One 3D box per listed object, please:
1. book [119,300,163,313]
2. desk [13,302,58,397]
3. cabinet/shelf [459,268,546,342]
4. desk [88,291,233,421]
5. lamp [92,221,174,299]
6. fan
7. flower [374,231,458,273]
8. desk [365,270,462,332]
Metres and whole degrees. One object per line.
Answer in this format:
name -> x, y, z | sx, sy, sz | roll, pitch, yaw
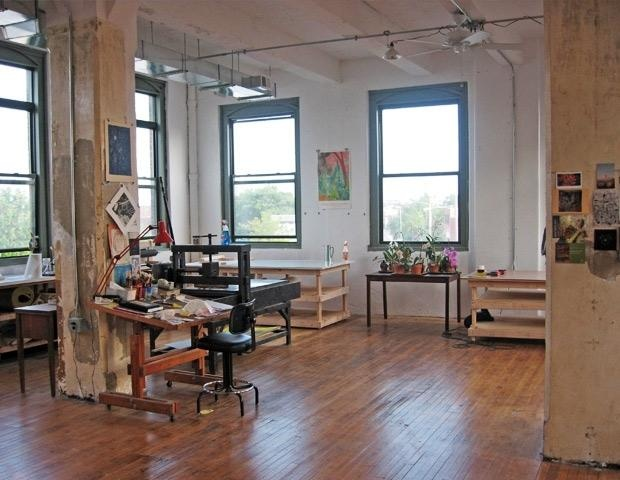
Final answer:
book -> -1.553, 0.595, 4.950 | 0.412, 0.089, 0.231 | 2, 5, 32
desk -> -2.763, 1.085, 5.467 | 0.363, 0.880, 0.574 | -3, 5, -29
cabinet/shelf -> 2.730, 0.886, 7.494 | 0.967, 0.903, 1.272 | 1, 4, 21
desk -> -1.325, 0.994, 5.213 | 1.085, 1.016, 1.148 | 1, 2, 21
lamp -> -1.813, 0.157, 5.415 | 0.688, 0.686, 1.107 | -2, 4, -22
fan -> 1.959, -2.614, 7.026 | 0.940, 0.337, 0.955 | 0, 3, 38
flower -> 1.712, 0.212, 8.554 | 0.985, 0.468, 0.661 | -1, 2, 5
desk -> 1.647, 0.947, 8.476 | 1.305, 0.825, 0.768 | -1, -1, 23
